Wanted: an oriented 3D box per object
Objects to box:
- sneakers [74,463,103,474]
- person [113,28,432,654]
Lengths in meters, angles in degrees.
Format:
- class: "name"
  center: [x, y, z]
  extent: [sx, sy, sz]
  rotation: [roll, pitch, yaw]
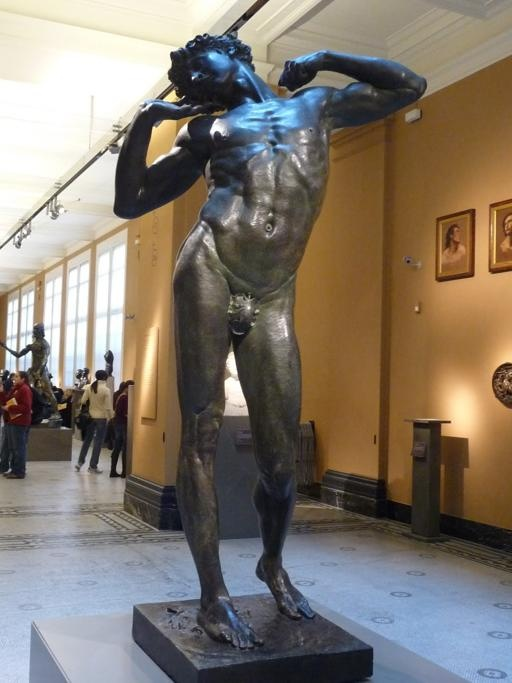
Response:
- class: "sneakers"
  center: [-3.216, 2.467, 11.291]
  extent: [0.592, 0.249, 0.196]
  rotation: [1, 2, 0]
- class: "person"
  center: [-0.023, -0.100, 1.641]
  extent: [0.930, 1.644, 0.462]
  rotation: [-3, -11, 22]
